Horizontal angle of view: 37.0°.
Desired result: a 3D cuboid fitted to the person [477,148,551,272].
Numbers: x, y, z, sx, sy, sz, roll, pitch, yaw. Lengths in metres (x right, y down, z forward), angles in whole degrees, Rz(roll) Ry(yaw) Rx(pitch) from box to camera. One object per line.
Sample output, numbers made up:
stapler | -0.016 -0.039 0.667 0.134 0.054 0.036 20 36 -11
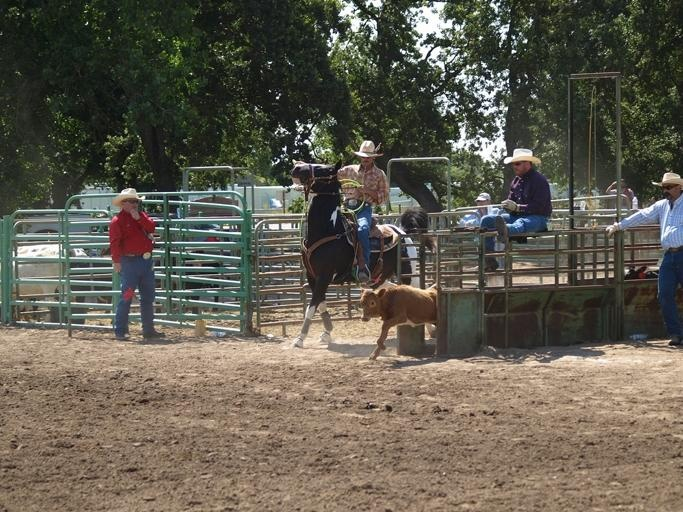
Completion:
person | 2.875 -0.785 16.690 1.111 2.027 1.284 0 -3 10

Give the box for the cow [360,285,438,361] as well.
cow | 0.928 1.036 16.027 1.215 1.142 0.420 0 -3 -5

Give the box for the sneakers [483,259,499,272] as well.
sneakers | 2.435 0.111 16.515 0.230 0.220 0.123 1 -3 -12

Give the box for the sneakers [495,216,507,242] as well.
sneakers | 2.547 -0.434 16.161 0.155 0.418 0.193 -3 0 35

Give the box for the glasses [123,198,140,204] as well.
glasses | -3.533 -0.945 17.525 0.314 0.110 0.171 2 -3 -36

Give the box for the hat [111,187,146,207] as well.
hat | -3.693 -1.079 17.523 0.396 0.144 0.391 -13 -14 43
